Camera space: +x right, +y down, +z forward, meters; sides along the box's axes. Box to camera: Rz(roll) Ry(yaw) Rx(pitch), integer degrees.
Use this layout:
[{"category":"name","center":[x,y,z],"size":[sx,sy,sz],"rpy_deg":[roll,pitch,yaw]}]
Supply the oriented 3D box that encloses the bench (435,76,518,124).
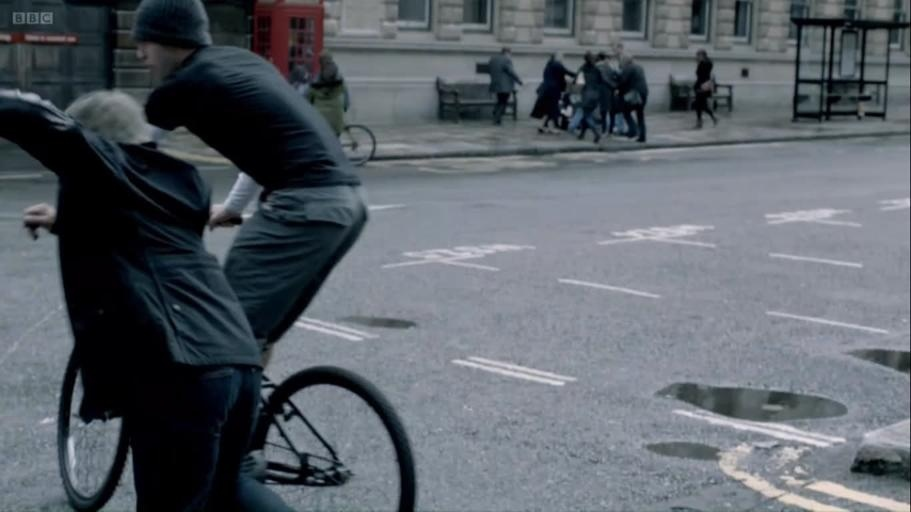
[{"category":"bench","center":[0.713,-4.407,28.864],"size":[2.338,1.070,0.883],"rpy_deg":[-7,19,-36]}]
